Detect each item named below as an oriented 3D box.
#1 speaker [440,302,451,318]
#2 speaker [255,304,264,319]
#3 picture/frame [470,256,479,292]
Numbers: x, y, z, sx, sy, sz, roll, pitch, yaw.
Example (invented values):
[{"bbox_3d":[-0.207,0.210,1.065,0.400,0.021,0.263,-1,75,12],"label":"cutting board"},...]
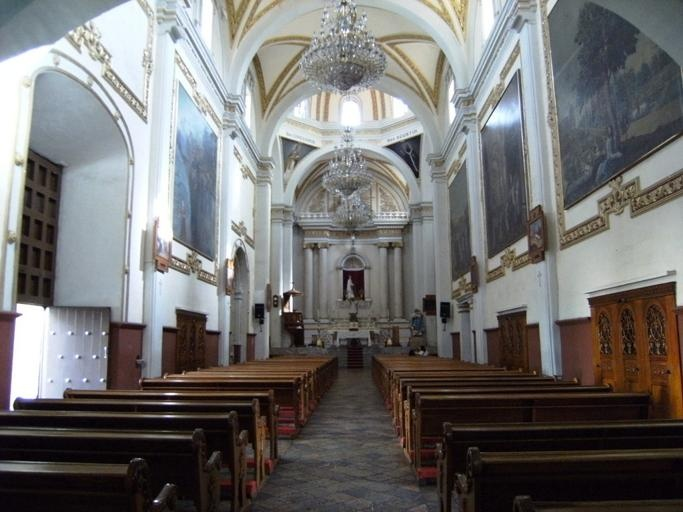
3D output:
[{"bbox_3d":[3.377,1.762,16.878,0.342,0.742,0.505,1,-11,8],"label":"speaker"},{"bbox_3d":[-2.765,1.905,17.156,0.362,0.583,0.362,2,-11,-11],"label":"speaker"},{"bbox_3d":[3.397,0.458,13.045,0.184,0.911,0.470,-2,-11,10],"label":"picture/frame"}]
